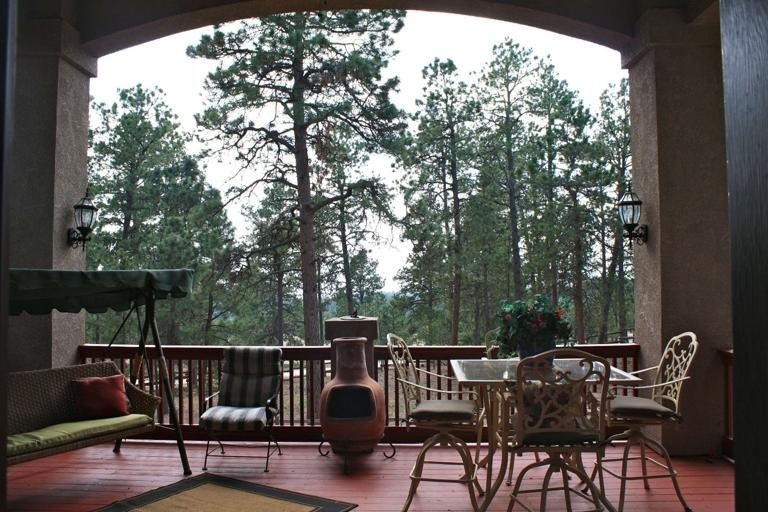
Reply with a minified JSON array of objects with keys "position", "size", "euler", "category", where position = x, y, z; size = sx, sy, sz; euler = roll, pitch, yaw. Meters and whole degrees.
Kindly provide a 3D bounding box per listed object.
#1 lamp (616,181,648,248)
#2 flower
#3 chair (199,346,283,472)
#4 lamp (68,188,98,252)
[{"position":[3.366,-0.556,11.201],"size":[0.350,0.802,0.314],"euler":[-2,2,-44],"category":"lamp"},{"position":[1.769,0.850,9.919],"size":[0.709,0.711,0.710],"euler":[-4,-1,-40],"category":"flower"},{"position":[-1.900,2.011,10.874],"size":[0.928,1.503,1.299],"euler":[1,0,9],"category":"chair"},{"position":[-4.221,-0.528,11.516],"size":[0.349,0.867,0.314],"euler":[-1,-5,8],"category":"lamp"}]
